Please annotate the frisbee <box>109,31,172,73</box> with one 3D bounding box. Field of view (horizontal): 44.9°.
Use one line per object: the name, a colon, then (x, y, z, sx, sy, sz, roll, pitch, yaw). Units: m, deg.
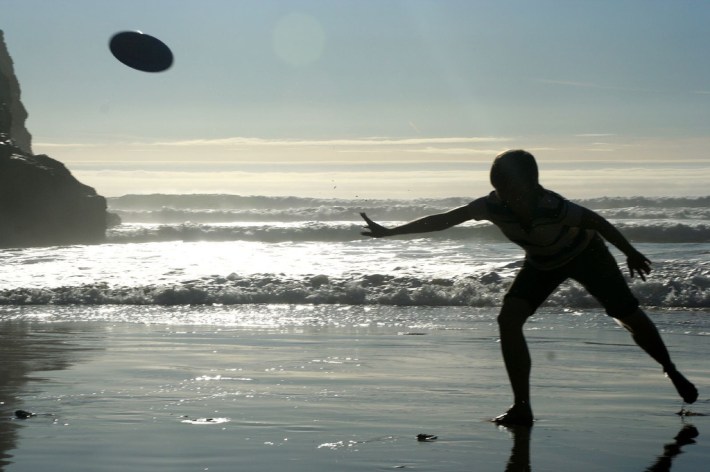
frisbee: (-2.651, -2.319, 10.740, 0.270, 0.471, 0.642, 5, 6, 44)
